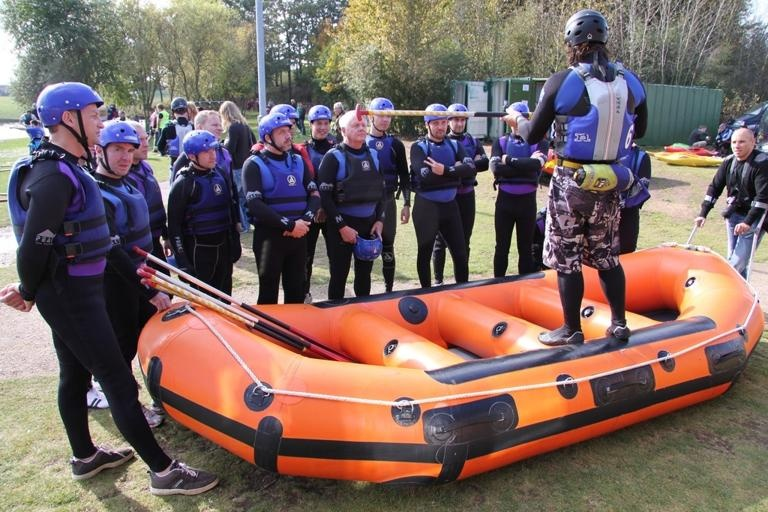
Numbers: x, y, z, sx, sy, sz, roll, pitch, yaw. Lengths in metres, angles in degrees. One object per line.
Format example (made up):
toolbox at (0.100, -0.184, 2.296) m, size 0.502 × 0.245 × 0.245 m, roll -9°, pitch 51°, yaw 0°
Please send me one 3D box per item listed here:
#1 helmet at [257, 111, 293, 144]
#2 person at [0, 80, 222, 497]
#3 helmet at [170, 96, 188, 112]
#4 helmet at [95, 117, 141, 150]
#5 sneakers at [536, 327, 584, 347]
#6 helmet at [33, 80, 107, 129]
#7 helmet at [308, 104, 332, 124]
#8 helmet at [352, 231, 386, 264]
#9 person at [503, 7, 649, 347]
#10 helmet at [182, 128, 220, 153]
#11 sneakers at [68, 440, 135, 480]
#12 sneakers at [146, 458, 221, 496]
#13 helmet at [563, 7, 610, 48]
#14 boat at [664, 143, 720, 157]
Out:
helmet at (-1.116, -1.331, 6.565) m, size 0.309 × 0.270 × 0.258 m, roll 4°, pitch 26°, yaw 10°
person at (-2.333, 0.304, 5.091) m, size 1.297 × 3.252 × 0.711 m, roll 4°, pitch 17°, yaw 17°
helmet at (-3.204, -2.374, 9.966) m, size 0.210 × 0.164 × 0.308 m, roll -21°, pitch 22°, yaw -28°
helmet at (-2.310, -1.078, 5.580) m, size 0.322 × 0.312 × 0.244 m, roll 19°, pitch 25°, yaw 33°
sneakers at (1.635, 0.735, 5.906) m, size 0.312 × 0.134 × 0.188 m, roll 3°, pitch 7°, yaw 15°
helmet at (-2.445, -1.199, 5.009) m, size 0.473 × 0.325 × 0.239 m, roll -10°, pitch 18°, yaw -27°
helmet at (-0.726, -1.629, 7.332) m, size 0.178 × 0.209 × 0.248 m, roll -4°, pitch 26°, yaw -14°
helmet at (-0.158, -0.115, 6.983) m, size 0.326 × 0.303 × 0.242 m, roll -6°, pitch 10°, yaw -37°
person at (1.748, -0.668, 5.727) m, size 1.067 × 2.927 × 0.644 m, roll 2°, pitch 17°, yaw 12°
helmet at (-1.825, -1.114, 6.345) m, size 0.280 × 0.220 × 0.215 m, roll -21°, pitch 25°, yaw 23°
sneakers at (-2.391, 1.701, 5.468) m, size 0.222 × 0.250 × 0.545 m, roll 15°, pitch 15°, yaw 33°
sneakers at (-1.619, 1.819, 5.276) m, size 0.579 × 0.302 × 0.235 m, roll 1°, pitch 3°, yaw -13°
helmet at (1.749, -1.980, 5.534) m, size 0.274 × 0.306 × 0.372 m, roll 5°, pitch 34°, yaw 12°
boat at (7.999, -2.816, 16.824) m, size 0.787 × 0.306 × 1.377 m, roll 6°, pitch 10°, yaw -15°
